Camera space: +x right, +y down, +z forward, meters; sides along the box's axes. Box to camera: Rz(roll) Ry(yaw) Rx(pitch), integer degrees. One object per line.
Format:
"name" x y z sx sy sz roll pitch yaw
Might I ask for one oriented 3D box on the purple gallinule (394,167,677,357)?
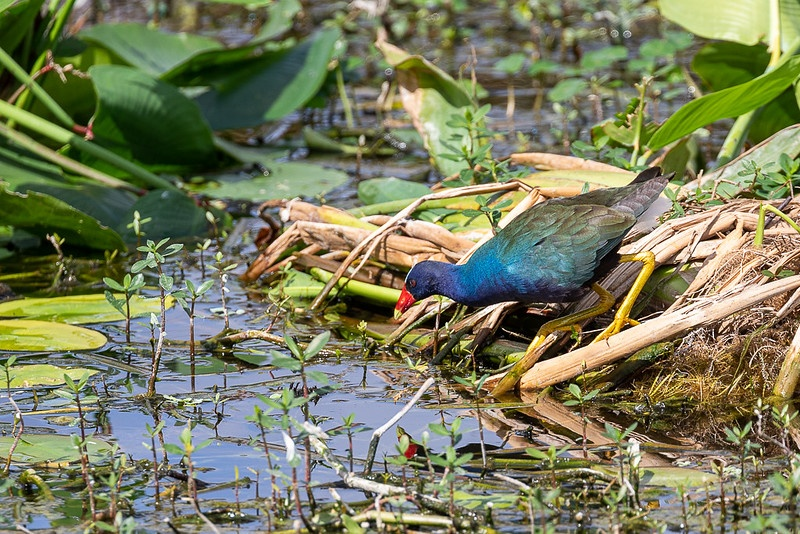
"purple gallinule" 0.563 -0.039 2.922 1.082 0.421 0.511 -25 31 16
